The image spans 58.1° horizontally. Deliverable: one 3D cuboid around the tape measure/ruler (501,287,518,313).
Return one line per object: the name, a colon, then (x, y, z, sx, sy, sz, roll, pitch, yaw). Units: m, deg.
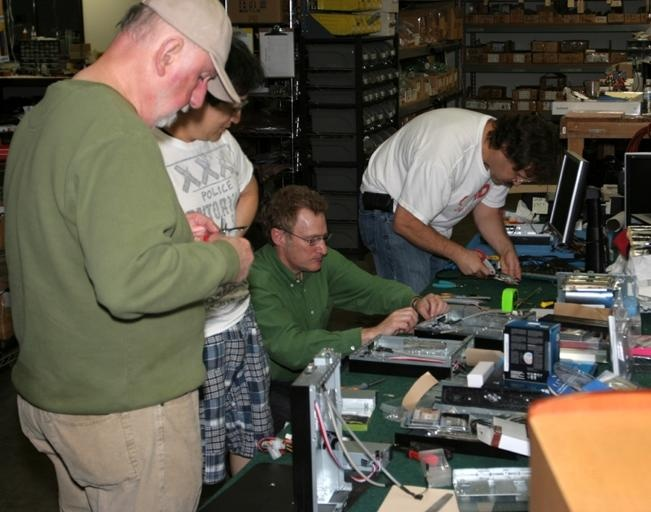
tape measure/ruler: (0.746, 0.180, 2.363, 0.031, 0.078, 0.083, 3, 11, 22)

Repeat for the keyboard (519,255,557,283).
keyboard: (1.083, 0.065, 2.994, 0.150, 0.046, 0.113, 3, 16, 16)

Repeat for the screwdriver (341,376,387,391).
screwdriver: (0.118, 0.396, 1.865, 0.042, 0.012, 0.164, 1, 6, 36)

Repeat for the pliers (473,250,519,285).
pliers: (0.859, 0.063, 2.932, 0.208, 0.089, 0.056, 32, 41, 32)
